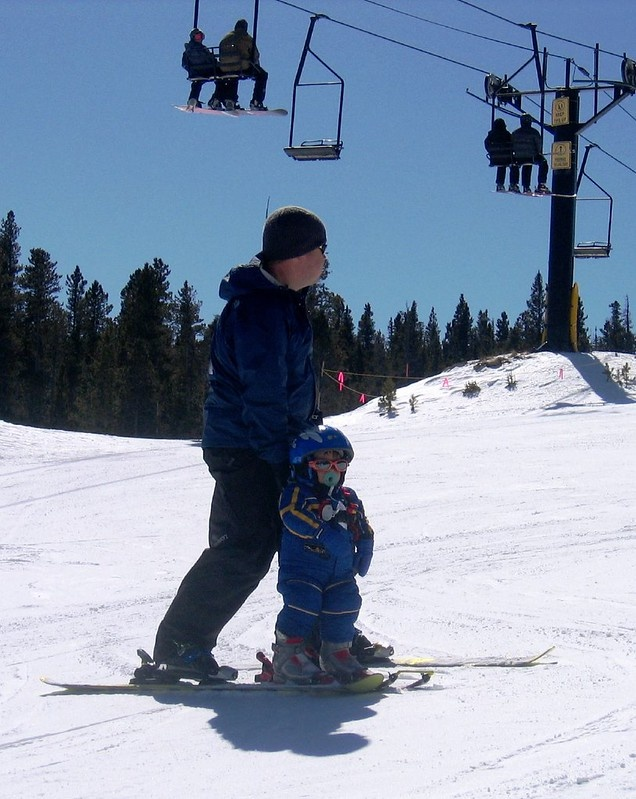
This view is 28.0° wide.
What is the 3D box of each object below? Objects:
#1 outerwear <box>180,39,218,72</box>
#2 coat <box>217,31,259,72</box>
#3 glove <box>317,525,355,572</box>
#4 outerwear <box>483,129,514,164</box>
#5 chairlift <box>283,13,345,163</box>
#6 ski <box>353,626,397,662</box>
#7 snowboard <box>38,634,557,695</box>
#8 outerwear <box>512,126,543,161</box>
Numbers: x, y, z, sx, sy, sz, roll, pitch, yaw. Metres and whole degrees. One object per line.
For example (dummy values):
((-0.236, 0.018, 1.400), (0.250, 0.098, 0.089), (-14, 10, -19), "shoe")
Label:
((-1.251, -3.663, 13.647), (0.364, 0.287, 0.193), (-2, 2, 1), "outerwear")
((-0.847, -3.668, 13.527), (0.410, 0.394, 0.374), (-2, 2, -5), "coat")
((0.065, 0.594, 5.086), (0.125, 0.249, 0.168), (-6, -1, 30), "glove")
((2.604, -3.618, 18.290), (0.371, 0.487, 0.364), (-2, 2, 6), "outerwear")
((-0.017, -3.144, 12.716), (0.548, 1.469, 0.383), (2, 39, 1), "chairlift")
((0.240, 1.055, 5.484), (0.171, 0.079, 0.106), (22, -12, -22), "ski")
((-0.074, 1.106, 5.289), (1.699, 0.093, 0.202), (-1, 17, 1), "snowboard")
((2.989, -3.630, 18.237), (0.402, 0.541, 0.545), (-2, 2, 9), "outerwear")
